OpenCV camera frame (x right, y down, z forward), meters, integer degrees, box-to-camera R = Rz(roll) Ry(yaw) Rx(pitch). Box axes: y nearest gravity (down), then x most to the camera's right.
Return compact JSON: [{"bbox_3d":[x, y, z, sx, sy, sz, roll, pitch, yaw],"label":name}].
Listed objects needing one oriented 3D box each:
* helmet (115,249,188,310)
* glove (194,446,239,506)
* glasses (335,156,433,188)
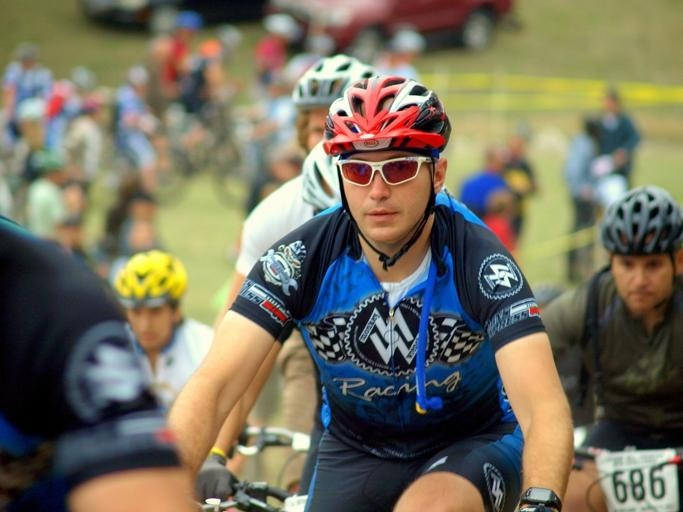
[{"bbox_3d":[-1.333,0.158,8.005,0.325,0.398,0.462,-8,-10,4],"label":"helmet"},{"bbox_3d":[-0.707,1.253,6.381,0.088,0.292,0.202,3,-16,8],"label":"glove"},{"bbox_3d":[0.237,-0.482,6.199,0.512,0.161,0.104,-7,21,2],"label":"glasses"}]
